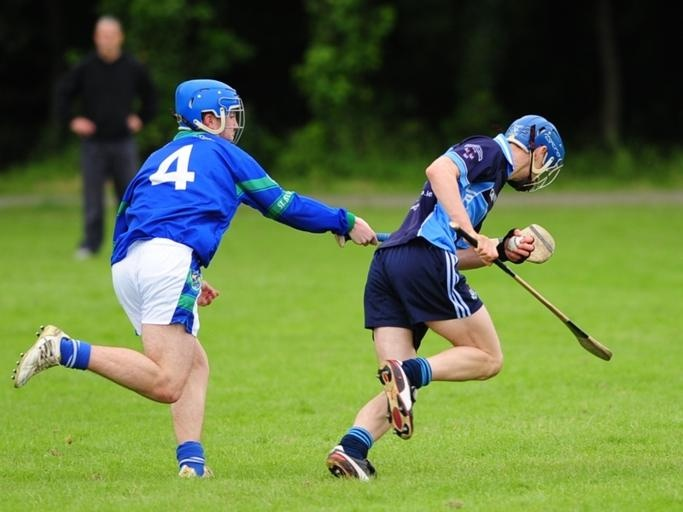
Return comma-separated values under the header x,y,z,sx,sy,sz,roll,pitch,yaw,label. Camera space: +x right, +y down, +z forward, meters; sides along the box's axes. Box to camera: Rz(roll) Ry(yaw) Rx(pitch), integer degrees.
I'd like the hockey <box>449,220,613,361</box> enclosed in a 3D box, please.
x,y,z,sx,sy,sz,roll,pitch,yaw,label
1.743,0.358,8.027,0.330,2.174,0.108,-33,31,29,hockey

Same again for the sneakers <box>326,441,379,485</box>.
x,y,z,sx,sy,sz,roll,pitch,yaw,label
0.037,1.197,5.049,0.345,0.162,0.126,34,-31,-21,sneakers

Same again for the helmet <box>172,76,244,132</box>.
x,y,z,sx,sy,sz,roll,pitch,yaw,label
-0.808,-0.896,5.411,0.408,0.341,0.326,-5,13,-19,helmet

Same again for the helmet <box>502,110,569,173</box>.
x,y,z,sx,sy,sz,roll,pitch,yaw,label
1.193,-0.710,5.523,0.387,0.321,0.294,10,6,-26,helmet

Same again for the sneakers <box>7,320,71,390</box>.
x,y,z,sx,sy,sz,roll,pitch,yaw,label
-1.659,0.549,4.957,0.476,0.229,0.177,-26,5,15,sneakers

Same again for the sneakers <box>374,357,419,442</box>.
x,y,z,sx,sy,sz,roll,pitch,yaw,label
0.317,0.814,5.048,0.125,0.444,0.287,-7,10,-35,sneakers
